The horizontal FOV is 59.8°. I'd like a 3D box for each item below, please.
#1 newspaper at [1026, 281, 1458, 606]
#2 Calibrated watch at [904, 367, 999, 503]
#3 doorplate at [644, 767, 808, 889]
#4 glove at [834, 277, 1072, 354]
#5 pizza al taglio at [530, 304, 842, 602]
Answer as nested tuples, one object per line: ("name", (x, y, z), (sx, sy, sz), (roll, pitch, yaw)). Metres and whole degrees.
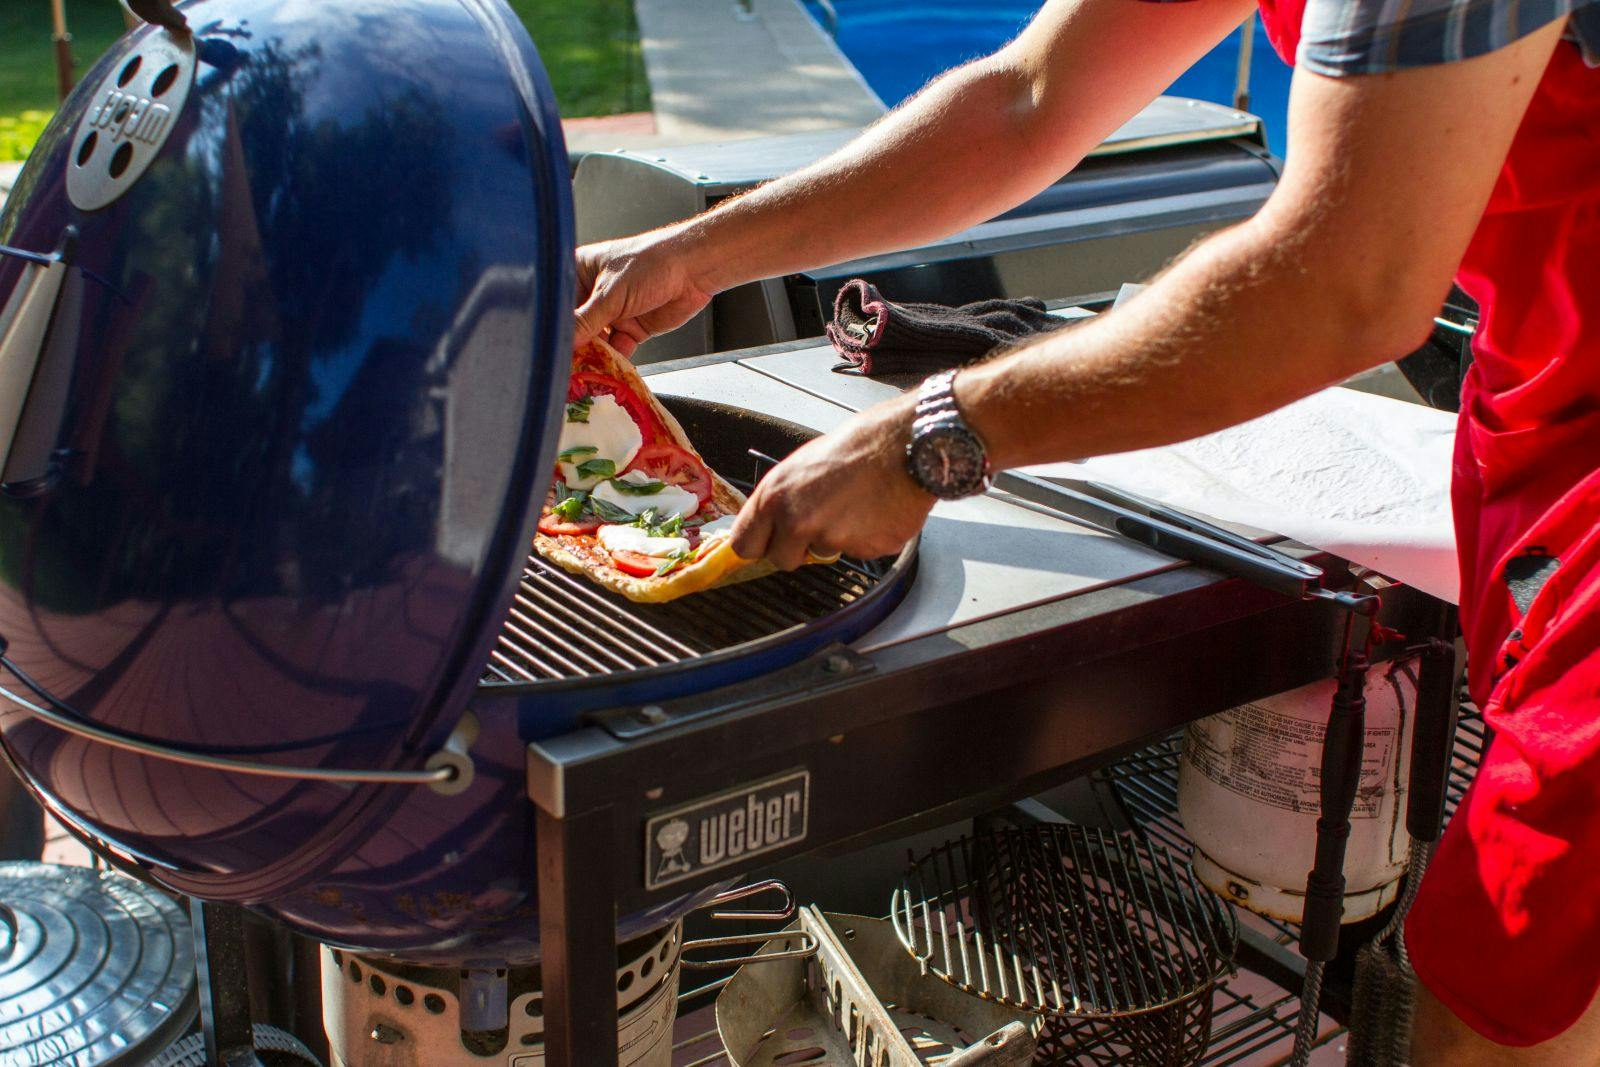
("newspaper", (0.534, -0.021, 1.509), (0.368, 0.088, 0.409), (-10, 31, -5))
("Calibrated watch", (0.134, -0.092, 1.231), (0.068, 0.107, 0.073), (9, 19, 31))
("doorplate", (-0.057, 0.247, 1.164), (0.112, 0.100, 0.114), (0, 14, 0))
("glove", (0.197, -0.290, 1.907), (0.244, 0.083, 0.220), (-4, 23, -19))
("pizza al taglio", (-0.144, -0.064, 1.404), (0.184, 0.067, 0.364), (-23, 52, -29))
